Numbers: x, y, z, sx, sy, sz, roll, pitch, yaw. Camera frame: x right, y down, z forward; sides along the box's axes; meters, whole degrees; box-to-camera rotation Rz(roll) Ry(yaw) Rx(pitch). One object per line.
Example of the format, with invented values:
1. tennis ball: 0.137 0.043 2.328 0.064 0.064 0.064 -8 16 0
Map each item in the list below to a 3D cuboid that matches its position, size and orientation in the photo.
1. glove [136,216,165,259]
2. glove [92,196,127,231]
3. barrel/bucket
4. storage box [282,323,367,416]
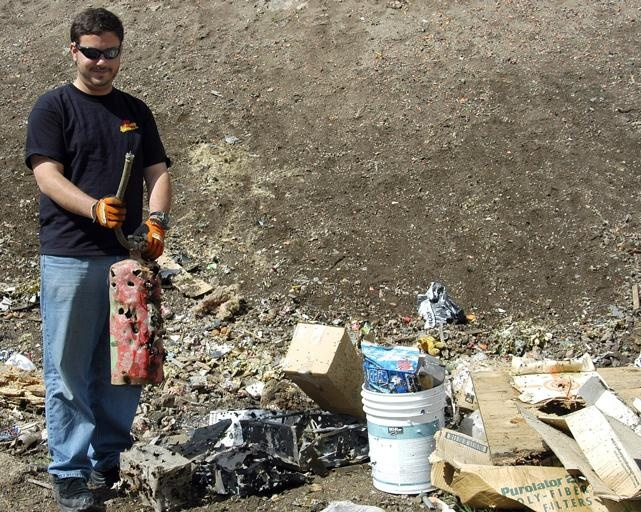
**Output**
1. glove: -1.421 -0.156 9.138 0.130 0.311 0.241 -15 -34 43
2. glove: -1.653 -0.334 8.794 0.255 0.240 0.105 -4 32 -4
3. barrel/bucket: 0.690 1.460 9.552 0.843 0.840 0.826 -2 6 0
4. storage box: 0.009 0.950 9.921 0.718 0.766 0.682 4 11 24
